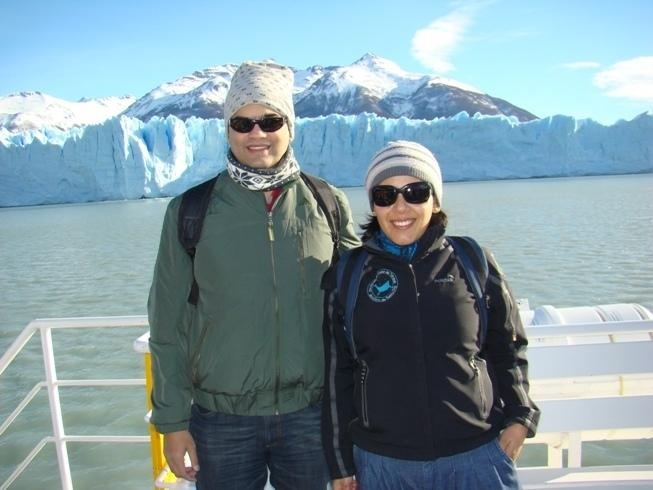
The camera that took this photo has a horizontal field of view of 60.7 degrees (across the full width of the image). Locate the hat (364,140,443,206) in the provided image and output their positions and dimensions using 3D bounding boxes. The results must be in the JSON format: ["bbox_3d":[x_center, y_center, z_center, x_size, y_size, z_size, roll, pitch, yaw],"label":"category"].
[{"bbox_3d":[0.310,-0.310,2.223,0.270,0.200,0.260,0,-12,5],"label":"hat"}]

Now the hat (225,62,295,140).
[{"bbox_3d":[-0.313,-0.617,2.277,0.247,0.236,0.255,1,10,-23],"label":"hat"}]
